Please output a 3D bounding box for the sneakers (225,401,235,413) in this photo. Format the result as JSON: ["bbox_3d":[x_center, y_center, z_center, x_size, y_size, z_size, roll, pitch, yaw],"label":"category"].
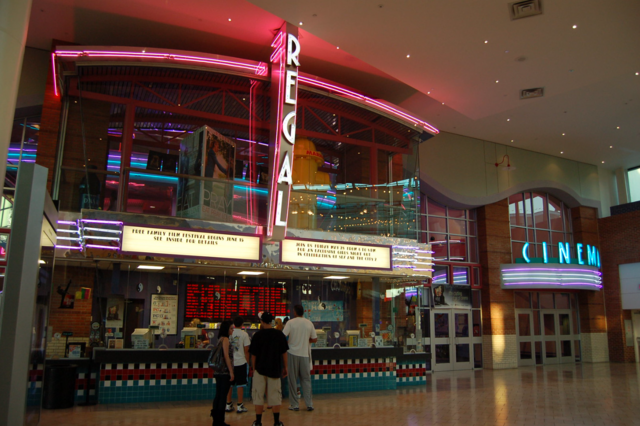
[{"bbox_3d":[-2.094,4.497,12.214,0.156,0.235,0.329,0,-4,13],"label":"sneakers"}]

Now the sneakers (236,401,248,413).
[{"bbox_3d":[-1.800,4.473,12.162,0.143,0.233,0.335,-3,-5,31],"label":"sneakers"}]

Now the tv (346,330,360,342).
[{"bbox_3d":[0.963,3.655,15.515,0.357,0.452,0.325,4,-15,-14],"label":"tv"}]
